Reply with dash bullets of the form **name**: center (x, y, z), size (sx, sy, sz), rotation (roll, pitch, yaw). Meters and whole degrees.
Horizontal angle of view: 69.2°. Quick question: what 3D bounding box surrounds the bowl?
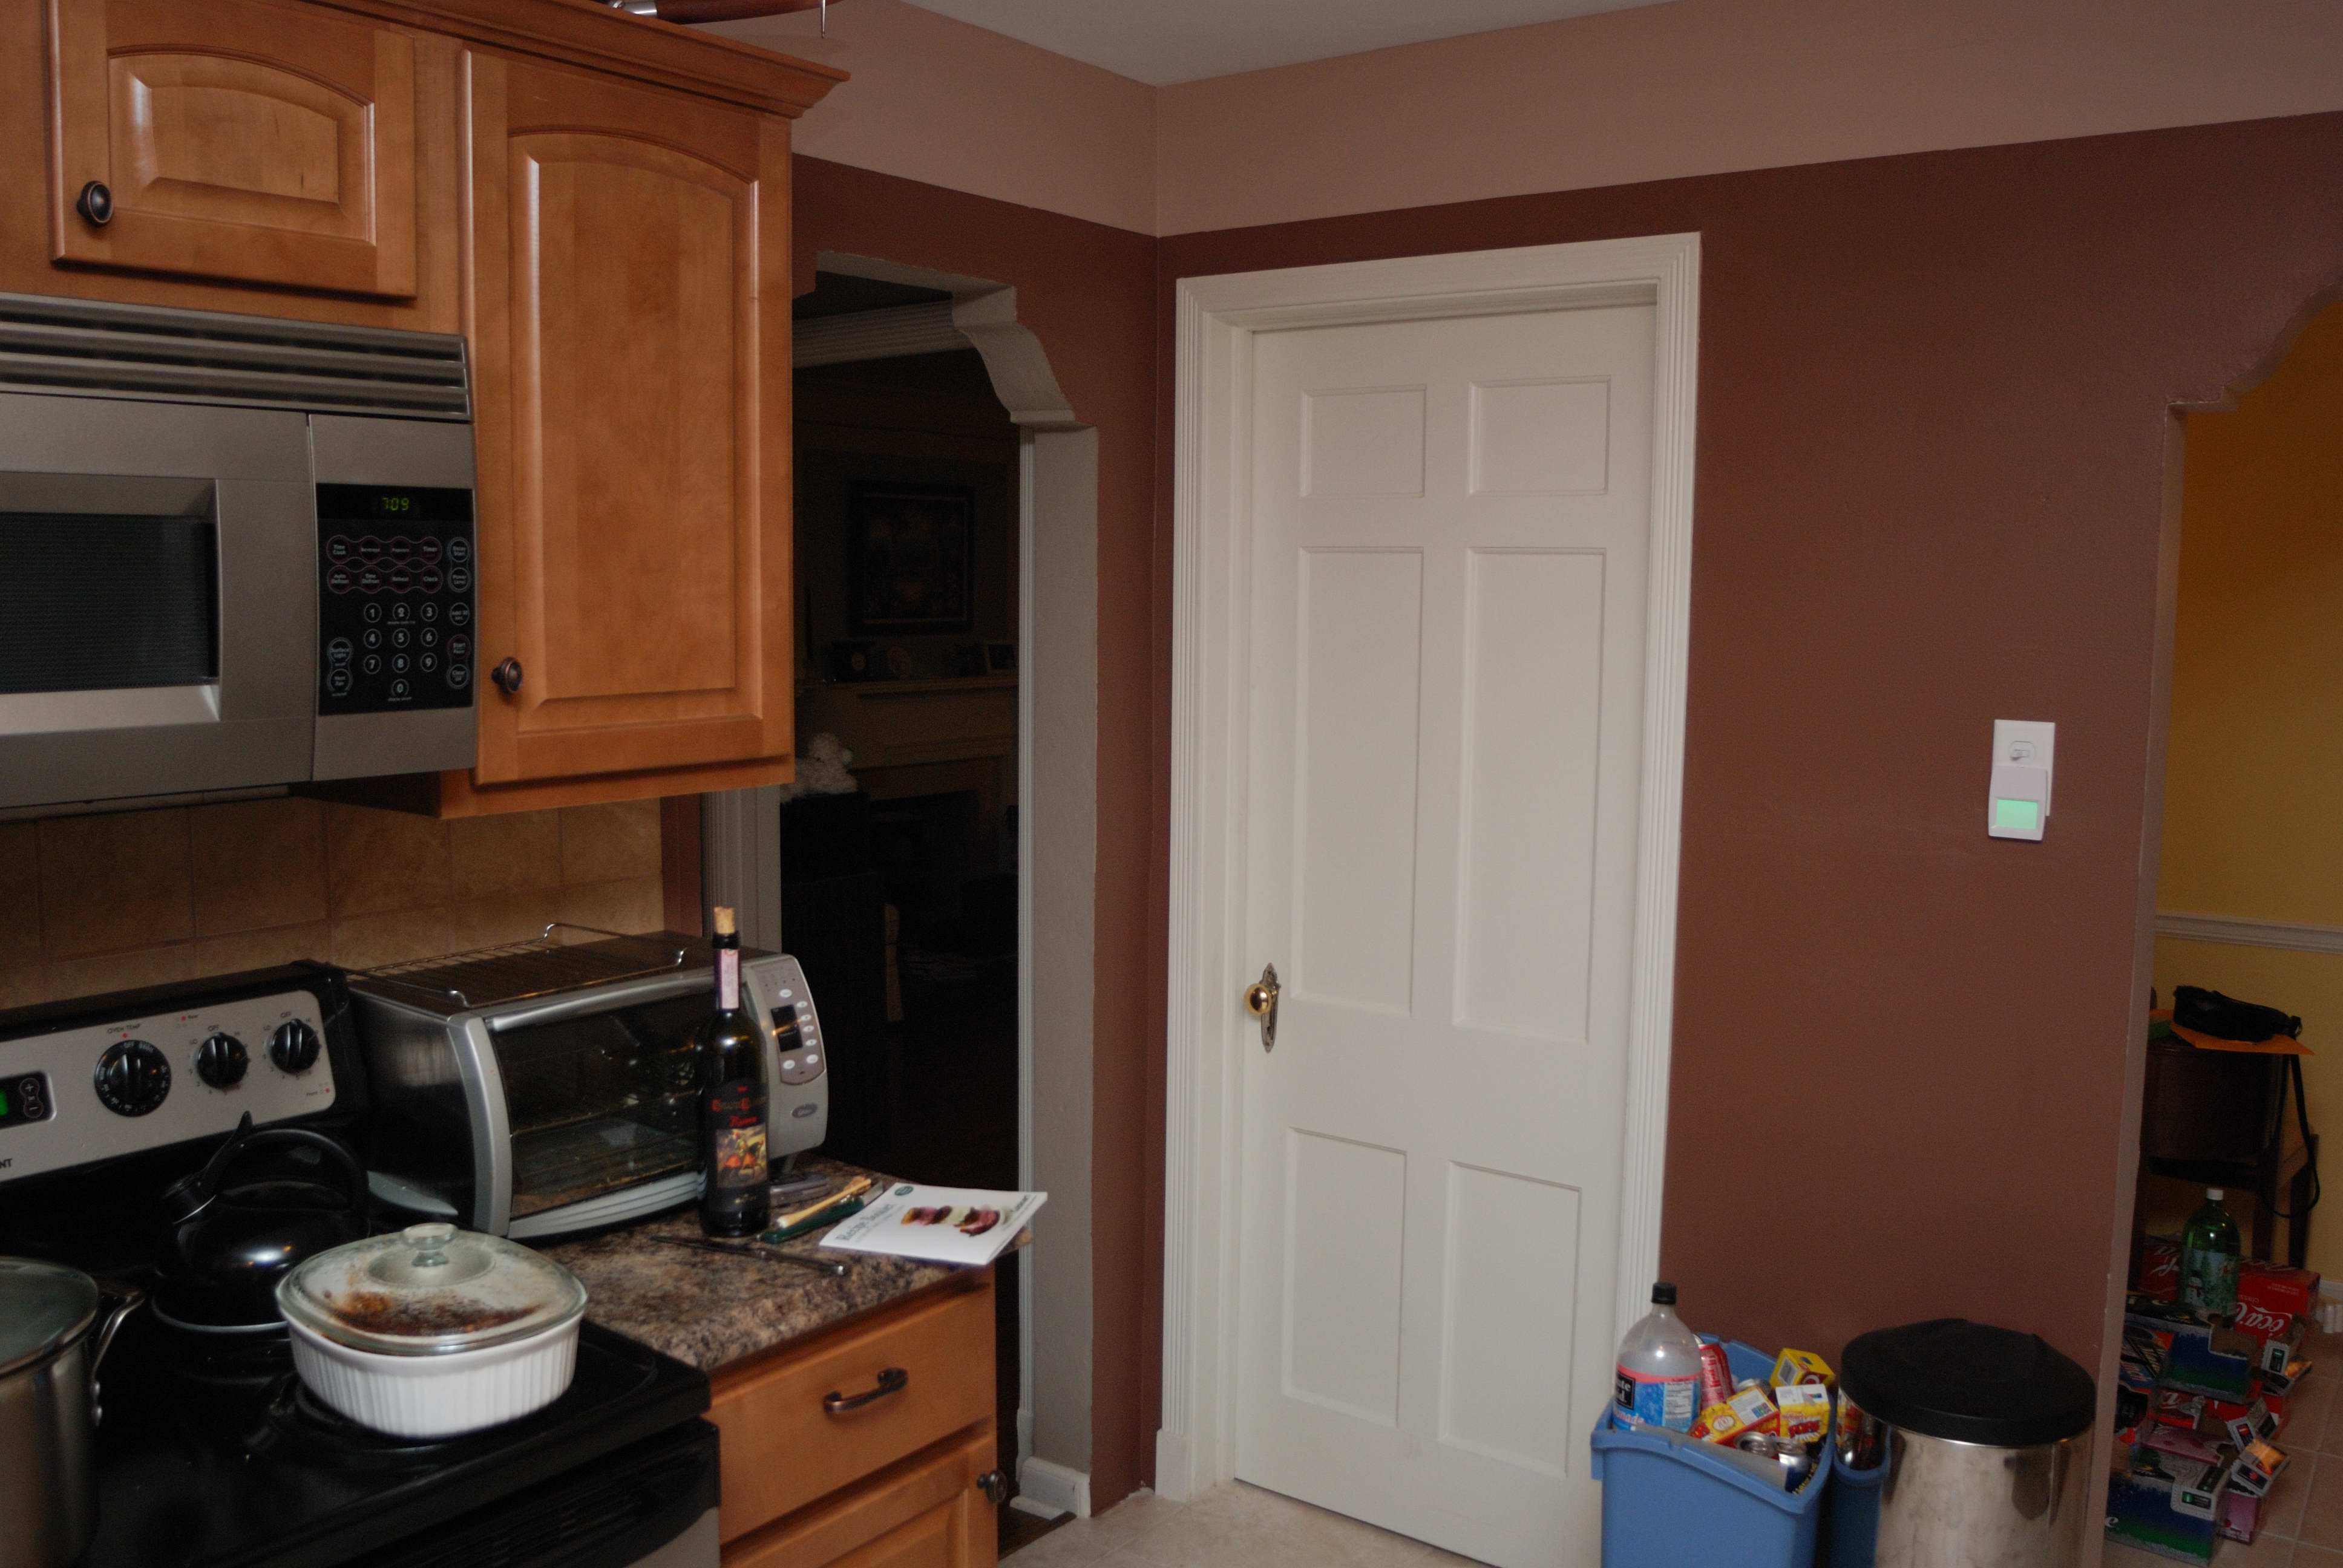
- **bowl**: center (-1.030, 0.731, 2.415), size (0.483, 0.234, 0.469), rotation (-9, -30, -5)

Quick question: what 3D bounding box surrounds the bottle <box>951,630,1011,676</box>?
- **bottle**: center (-0.591, -0.398, 5.351), size (0.231, 0.146, 0.123), rotation (-5, 11, -42)

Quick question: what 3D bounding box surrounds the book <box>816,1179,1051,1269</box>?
- **book**: center (-0.381, 0.731, 2.825), size (0.282, 0.087, 0.386), rotation (3, 7, 16)

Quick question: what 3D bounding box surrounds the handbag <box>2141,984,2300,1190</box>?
- **handbag**: center (2.721, 0.819, 4.422), size (0.321, 0.525, 0.357), rotation (5, 8, 29)

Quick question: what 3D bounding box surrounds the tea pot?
- **tea pot**: center (-1.317, 0.625, 2.551), size (0.370, 0.344, 0.214), rotation (-1, 2, -25)
